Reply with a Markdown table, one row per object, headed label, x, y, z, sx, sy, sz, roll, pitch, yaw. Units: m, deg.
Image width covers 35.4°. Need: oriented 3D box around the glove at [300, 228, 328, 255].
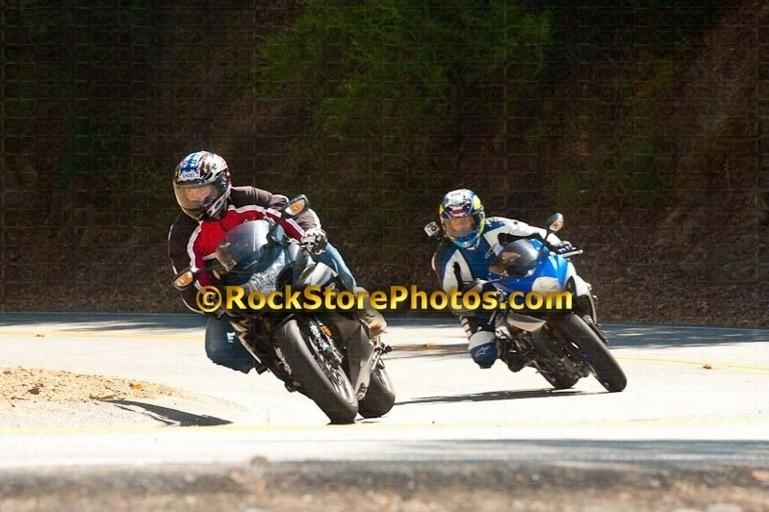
| label | x | y | z | sx | sy | sz | roll | pitch | yaw |
| --- | --- | --- | --- | --- | --- | --- | --- | --- | --- |
| glove | -0.764 | -0.157 | 13.097 | 0.303 | 0.216 | 0.143 | 18 | -4 | 27 |
